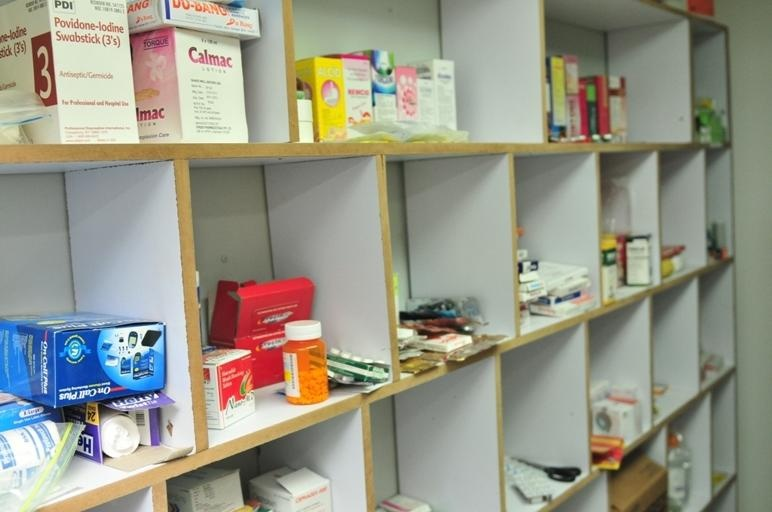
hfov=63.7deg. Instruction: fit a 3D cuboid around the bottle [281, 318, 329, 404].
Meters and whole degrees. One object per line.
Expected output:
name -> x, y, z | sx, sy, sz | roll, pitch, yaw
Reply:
bottle -> -0.212, 0.284, 1.667 | 0.129, 0.217, 0.079 | -5, 6, -22
